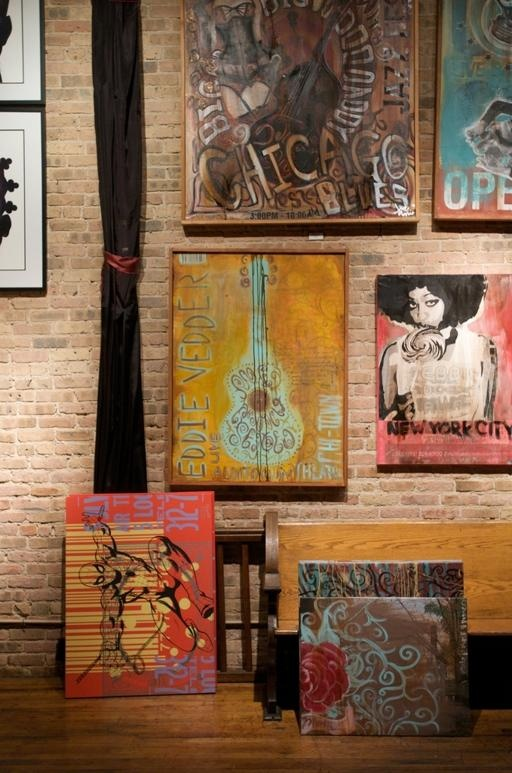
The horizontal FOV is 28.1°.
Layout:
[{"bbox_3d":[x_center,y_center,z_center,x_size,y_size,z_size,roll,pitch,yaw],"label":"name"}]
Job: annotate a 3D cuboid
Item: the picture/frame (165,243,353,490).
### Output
[{"bbox_3d":[0.016,-0.084,4.485,1.047,1.396,0.062,0,4,1],"label":"picture/frame"}]
